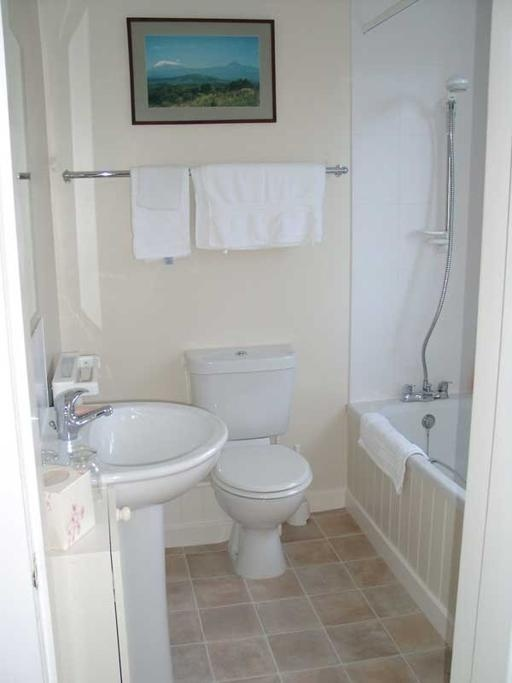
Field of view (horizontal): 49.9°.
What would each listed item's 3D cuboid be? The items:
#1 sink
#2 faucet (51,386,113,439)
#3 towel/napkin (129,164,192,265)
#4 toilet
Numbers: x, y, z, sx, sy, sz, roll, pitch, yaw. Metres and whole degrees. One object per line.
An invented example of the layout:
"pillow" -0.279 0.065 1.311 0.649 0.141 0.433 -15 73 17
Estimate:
"sink" -0.259 0.261 1.403 0.268 0.134 0.332 -2 19 -9
"faucet" -0.397 0.156 1.284 0.117 0.124 0.183 -4 10 -11
"towel/napkin" -0.355 -0.471 2.036 0.194 0.356 0.082 -4 10 -7
"toilet" -0.042 0.396 2.160 0.452 0.958 0.809 -2 8 -12
